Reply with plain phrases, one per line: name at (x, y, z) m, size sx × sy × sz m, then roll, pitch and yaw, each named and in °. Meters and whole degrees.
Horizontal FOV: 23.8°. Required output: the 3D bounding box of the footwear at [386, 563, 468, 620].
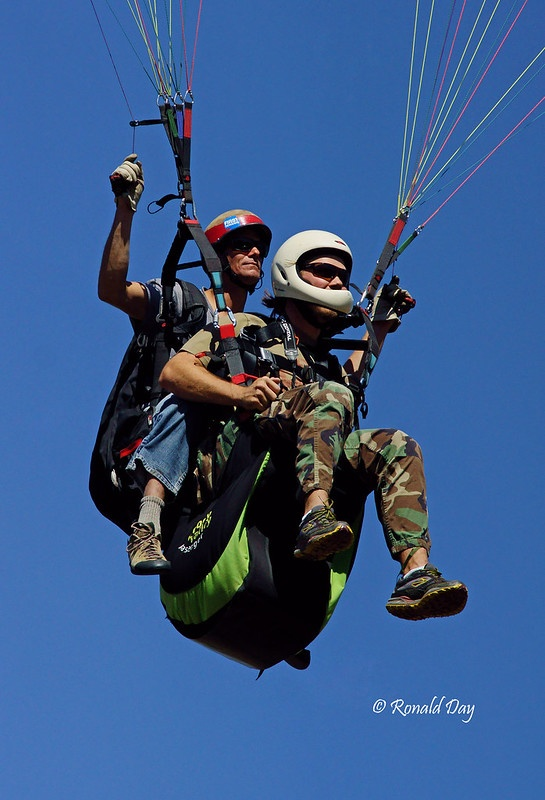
footwear at (0.726, 0.867, 5.981) m, size 0.408 × 0.198 × 0.235 m, roll -8°, pitch 62°, yaw 32°

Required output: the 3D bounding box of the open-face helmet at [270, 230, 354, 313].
open-face helmet at (0.221, -0.750, 7.394) m, size 0.570 × 0.414 × 0.442 m, roll 6°, pitch 89°, yaw 33°

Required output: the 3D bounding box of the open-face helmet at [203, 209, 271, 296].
open-face helmet at (-0.162, -0.949, 8.029) m, size 0.392 × 0.418 × 0.464 m, roll -7°, pitch 79°, yaw -4°

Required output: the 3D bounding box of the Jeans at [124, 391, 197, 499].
Jeans at (-0.530, 0.231, 6.949) m, size 0.411 × 0.199 × 0.477 m, roll 10°, pitch 65°, yaw 35°

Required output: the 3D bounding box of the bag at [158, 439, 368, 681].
bag at (-0.073, 0.722, 7.050) m, size 1.018 × 0.748 × 1.268 m, roll -21°, pitch 47°, yaw 47°

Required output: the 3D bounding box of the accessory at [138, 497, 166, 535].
accessory at (-0.630, 0.604, 6.755) m, size 0.146 × 0.159 × 0.190 m, roll -15°, pitch 60°, yaw 25°

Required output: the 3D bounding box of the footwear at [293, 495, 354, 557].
footwear at (0.230, 0.575, 5.904) m, size 0.152 × 0.370 × 0.249 m, roll 24°, pitch 55°, yaw -25°
